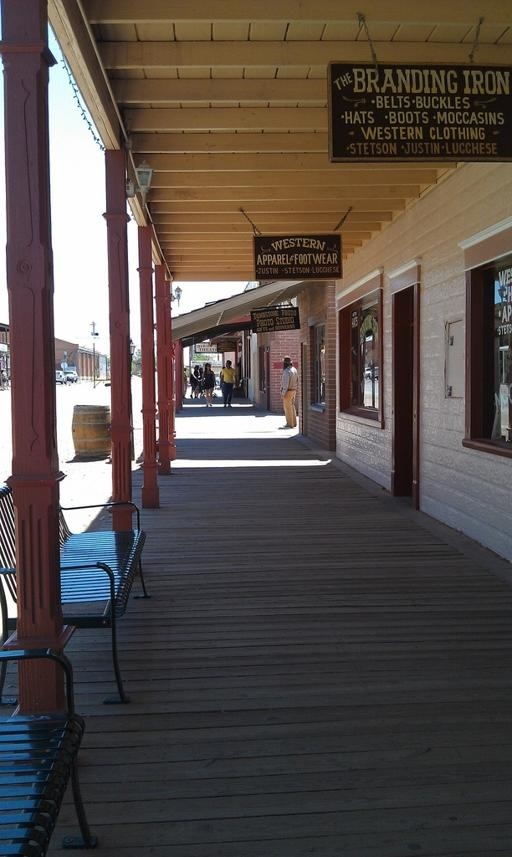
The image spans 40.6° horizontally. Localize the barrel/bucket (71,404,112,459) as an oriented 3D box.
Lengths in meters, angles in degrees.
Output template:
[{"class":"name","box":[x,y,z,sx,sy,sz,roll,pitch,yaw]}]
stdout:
[{"class":"barrel/bucket","box":[-2.617,0.057,11.160,0.680,1.135,0.687,0,4,0]}]
